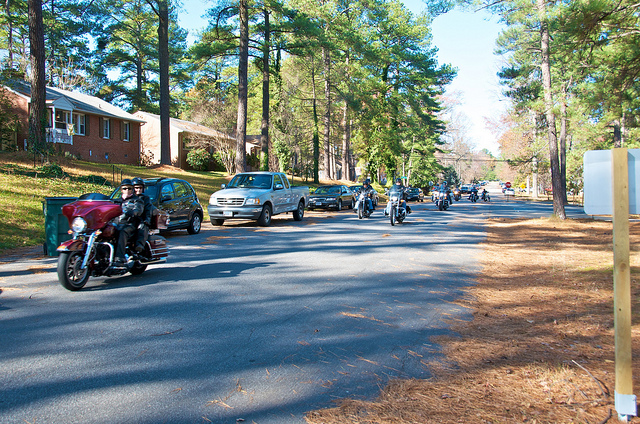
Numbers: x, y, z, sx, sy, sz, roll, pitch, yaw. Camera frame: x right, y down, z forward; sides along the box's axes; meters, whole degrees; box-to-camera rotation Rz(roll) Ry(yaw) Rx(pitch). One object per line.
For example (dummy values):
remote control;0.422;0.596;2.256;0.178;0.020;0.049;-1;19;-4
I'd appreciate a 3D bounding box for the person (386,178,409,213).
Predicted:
person;3.431;-0.945;22.977;0.755;0.872;1.428;-3;1;18

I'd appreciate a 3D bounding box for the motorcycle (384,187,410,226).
motorcycle;3.487;-0.249;23.322;0.877;1.727;1.261;2;9;7

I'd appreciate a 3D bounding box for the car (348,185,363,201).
car;2.896;-1.749;41.164;1.114;0.992;1.925;-1;-6;-2

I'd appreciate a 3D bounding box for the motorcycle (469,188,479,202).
motorcycle;16.101;-1.832;54.246;0.499;1.466;1.117;3;9;15

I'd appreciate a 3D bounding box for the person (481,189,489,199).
person;17.730;-1.969;55.895;0.406;1.010;1.810;4;9;17

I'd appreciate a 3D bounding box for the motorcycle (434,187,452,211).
motorcycle;8.552;-0.863;36.370;0.973;1.241;2.197;-1;-1;19

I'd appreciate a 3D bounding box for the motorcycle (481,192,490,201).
motorcycle;17.852;-1.675;56.057;0.616;1.319;0.726;-17;-3;41

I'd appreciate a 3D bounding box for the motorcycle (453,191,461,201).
motorcycle;14.477;-1.727;55.133;0.470;1.065;1.266;5;10;23

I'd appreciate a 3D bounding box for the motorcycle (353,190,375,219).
motorcycle;2.318;-0.416;26.546;0.656;1.490;0.693;2;9;4

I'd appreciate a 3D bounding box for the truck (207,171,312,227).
truck;-2.555;-0.641;23.495;2.006;1.633;4.593;-1;-1;18

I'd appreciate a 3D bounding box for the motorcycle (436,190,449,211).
motorcycle;8.416;-0.818;35.446;0.658;1.328;0.879;3;9;13

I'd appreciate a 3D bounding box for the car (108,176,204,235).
car;-5.203;-0.306;18.222;2.116;2.017;3.657;-1;-2;18
